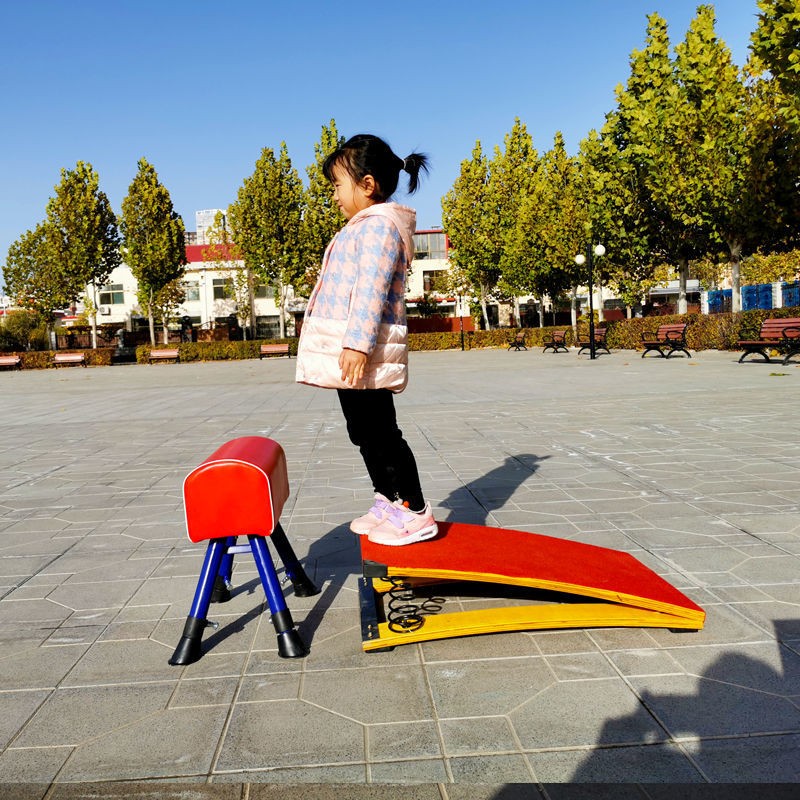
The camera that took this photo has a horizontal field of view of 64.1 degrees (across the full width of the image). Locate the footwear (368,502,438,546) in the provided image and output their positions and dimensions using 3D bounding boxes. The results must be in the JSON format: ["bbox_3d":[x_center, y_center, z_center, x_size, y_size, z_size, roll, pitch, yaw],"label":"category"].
[{"bbox_3d":[0.032,0.538,2.807,0.350,0.164,0.134,-5,6,0],"label":"footwear"}]

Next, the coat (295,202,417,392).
[{"bbox_3d":[-0.186,-0.410,2.630,0.531,0.783,0.427,-3,4,-1],"label":"coat"}]

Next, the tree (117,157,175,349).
[{"bbox_3d":[-16.730,-9.785,42.928,3.676,11.954,2.863,-4,5,-21],"label":"tree"}]

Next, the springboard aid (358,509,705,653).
[{"bbox_3d":[0.467,0.731,2.641,1.297,0.293,0.733,-2,4,-2],"label":"springboard aid"}]
